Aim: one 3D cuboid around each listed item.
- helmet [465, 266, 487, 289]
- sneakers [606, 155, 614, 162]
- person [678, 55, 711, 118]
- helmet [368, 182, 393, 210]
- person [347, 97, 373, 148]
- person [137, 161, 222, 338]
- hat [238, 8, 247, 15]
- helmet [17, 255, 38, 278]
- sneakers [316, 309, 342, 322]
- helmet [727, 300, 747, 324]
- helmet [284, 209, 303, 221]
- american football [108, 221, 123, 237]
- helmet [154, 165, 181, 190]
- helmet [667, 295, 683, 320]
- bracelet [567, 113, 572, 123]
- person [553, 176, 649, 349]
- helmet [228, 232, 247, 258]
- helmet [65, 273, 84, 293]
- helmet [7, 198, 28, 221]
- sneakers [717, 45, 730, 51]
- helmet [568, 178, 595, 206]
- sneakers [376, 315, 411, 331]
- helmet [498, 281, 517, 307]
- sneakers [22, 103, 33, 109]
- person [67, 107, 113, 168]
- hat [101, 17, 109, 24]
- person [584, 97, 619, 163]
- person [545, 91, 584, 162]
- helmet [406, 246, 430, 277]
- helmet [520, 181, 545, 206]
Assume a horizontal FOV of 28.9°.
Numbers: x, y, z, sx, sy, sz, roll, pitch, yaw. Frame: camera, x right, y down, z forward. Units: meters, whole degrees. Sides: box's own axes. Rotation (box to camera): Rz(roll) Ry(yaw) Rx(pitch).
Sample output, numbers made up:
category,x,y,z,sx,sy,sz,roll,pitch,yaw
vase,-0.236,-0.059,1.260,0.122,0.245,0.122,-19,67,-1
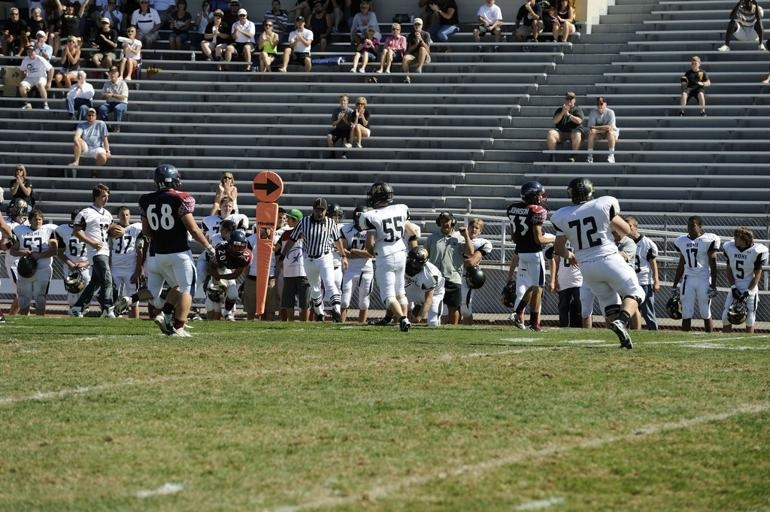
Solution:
category,x,y,z,sx,sy,sz,roll,pitch,yaw
helmet,1.687,0.417,27.216,0.327,0.392,0.369,0,15,-20
sneakers,4.859,-2.076,31.624,0.168,0.174,0.158,2,-2,-14
person,6.766,-3.661,32.348,0.582,1.270,0.919,0,-2,33
helmet,-0.048,-1.064,25.265,0.354,0.424,0.458,-7,17,-41
person,-0.534,-2.920,32.635,0.396,1.040,0.594,1,-2,2
person,-3.380,-0.075,23.831,1.025,2.735,0.523,1,-2,-1
hat,-3.303,-5.725,34.708,0.242,0.203,0.380,1,9,2
helmet,-6.574,0.249,27.523,0.311,0.390,0.396,9,32,-11
sneakers,-1.028,1.113,26.913,0.659,0.193,0.276,1,15,23
helmet,6.442,1.011,27.008,0.304,0.357,0.414,-2,10,15
helmet,-1.649,-0.734,27.437,0.314,0.154,0.213,15,17,-11
american football,-4.953,-0.486,27.482,0.150,0.147,0.253,-36,11,-17
helmet,-3.512,-1.258,23.995,0.435,0.442,0.508,4,14,12
helmet,5.394,0.934,27.601,0.259,0.423,0.238,1,-2,8
bracelet,3.943,-2.961,31.714,0.138,0.135,0.092,26,22,37
person,3.434,0.108,23.765,1.389,2.703,0.724,1,-2,14
helmet,-2.431,-0.205,24.798,0.301,0.314,0.388,7,11,-18
helmet,-5.724,0.486,27.634,0.360,0.423,0.196,2,-2,-14
helmet,-6.803,-0.881,27.859,0.321,0.383,0.386,8,-20,-10
sneakers,7.584,-4.656,33.132,0.217,0.130,0.128,3,0,-41
helmet,3.191,-1.079,23.962,0.365,0.384,0.434,0,35,10
sneakers,0.176,1.164,25.508,0.450,0.185,0.135,15,14,2
helmet,2.303,0.678,27.201,0.259,0.488,0.563,1,-2,4
sneakers,-8.206,-3.471,34.287,0.206,0.123,0.108,9,6,22
person,-6.472,-2.594,32.949,1.091,1.574,1.190,0,-4,-1
hat,-6.514,-5.558,34.933,0.177,0.124,0.281,0,-3,4
person,4.663,-2.690,31.669,0.658,1.395,0.728,1,-2,8
person,3.862,-2.740,31.917,0.818,1.435,1.057,1,-2,13
helmet,0.573,0.094,26.066,0.381,0.516,0.406,1,-2,-1
helmet,2.559,-1.096,25.547,0.371,0.393,0.460,1,-2,3
